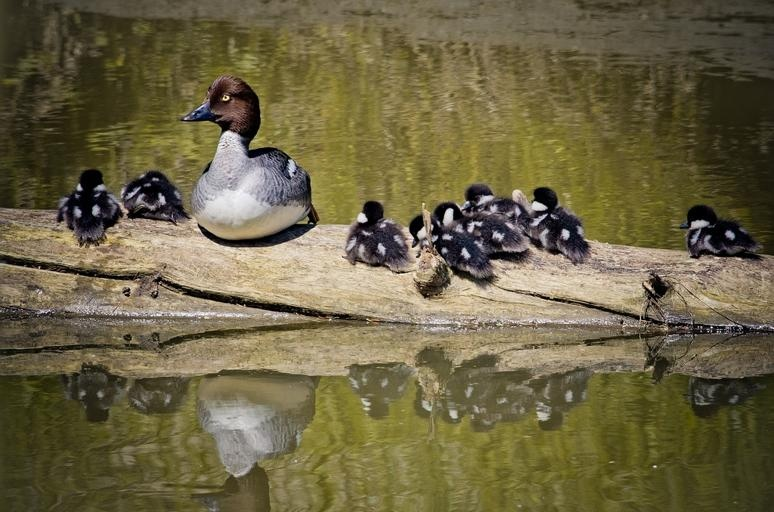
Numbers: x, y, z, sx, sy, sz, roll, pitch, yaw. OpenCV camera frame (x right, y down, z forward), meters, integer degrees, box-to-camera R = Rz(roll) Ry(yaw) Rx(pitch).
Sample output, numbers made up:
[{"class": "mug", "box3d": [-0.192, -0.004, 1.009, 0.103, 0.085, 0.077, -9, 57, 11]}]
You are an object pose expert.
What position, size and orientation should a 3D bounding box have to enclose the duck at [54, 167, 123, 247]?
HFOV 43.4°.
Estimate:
[{"class": "duck", "box3d": [-3.707, -0.615, 12.114, 1.143, 0.666, 0.895, 0, 57, -9]}]
